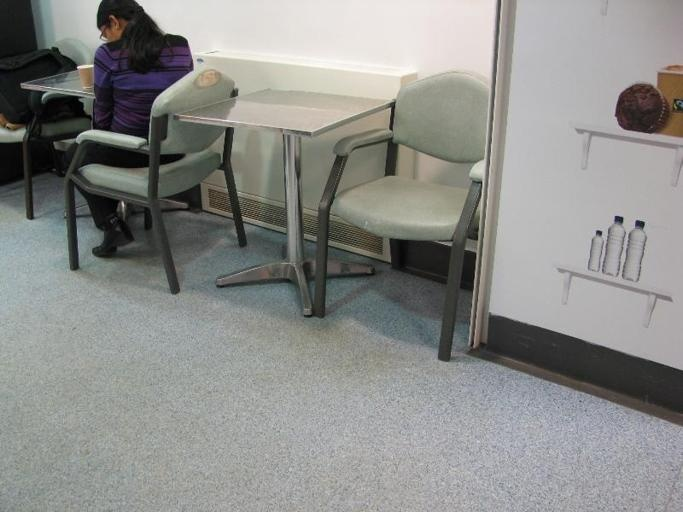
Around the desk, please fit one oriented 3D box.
[{"bbox_3d":[-0.182,-0.426,2.838,1.079,1.290,1.105,18,33,31],"label":"desk"}]

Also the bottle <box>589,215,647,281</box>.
[{"bbox_3d":[1.011,-0.037,1.877,0.183,0.216,0.061,17,25,41],"label":"bottle"}]

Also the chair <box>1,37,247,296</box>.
[{"bbox_3d":[-0.959,-0.802,3.372,1.034,1.662,1.194,21,36,17],"label":"chair"}]

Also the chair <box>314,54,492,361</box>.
[{"bbox_3d":[0.313,-0.246,2.478,0.885,1.337,0.839,18,40,27],"label":"chair"}]
